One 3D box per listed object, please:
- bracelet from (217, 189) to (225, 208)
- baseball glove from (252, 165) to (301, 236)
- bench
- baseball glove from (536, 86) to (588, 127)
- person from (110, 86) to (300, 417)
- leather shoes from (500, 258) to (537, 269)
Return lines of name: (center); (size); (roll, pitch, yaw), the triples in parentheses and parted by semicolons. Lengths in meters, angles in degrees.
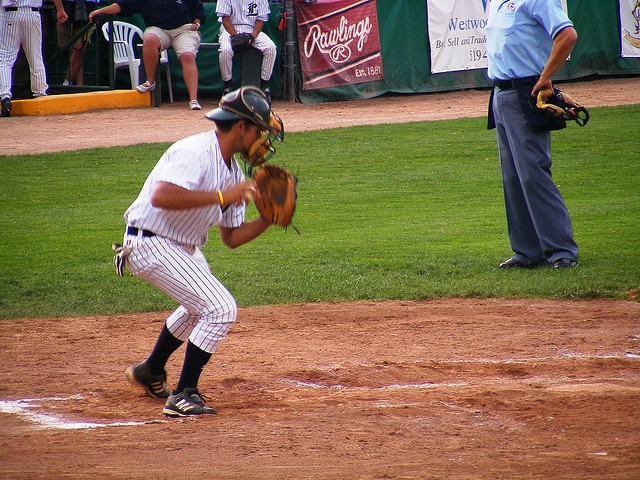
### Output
bracelet: (-0.911, -0.372, 11.846); (0.047, 0.115, 0.107); (-27, 22, 3)
baseball glove: (-0.491, -0.364, 12.205); (0.373, 0.603, 0.407); (-17, 7, -15)
bench: (-2.153, -3.034, 22.169); (1.095, 0.717, 1.868); (18, 21, 42)
baseball glove: (2.688, -1.424, 14.449); (0.630, 0.220, 0.424); (28, 41, -4)
person: (-1.159, 0.114, 12.035); (1.522, 3.001, 0.670); (-3, 10, -8)
leather shoes: (2.299, 0.273, 14.966); (0.429, 0.135, 0.138); (4, -1, 8)
